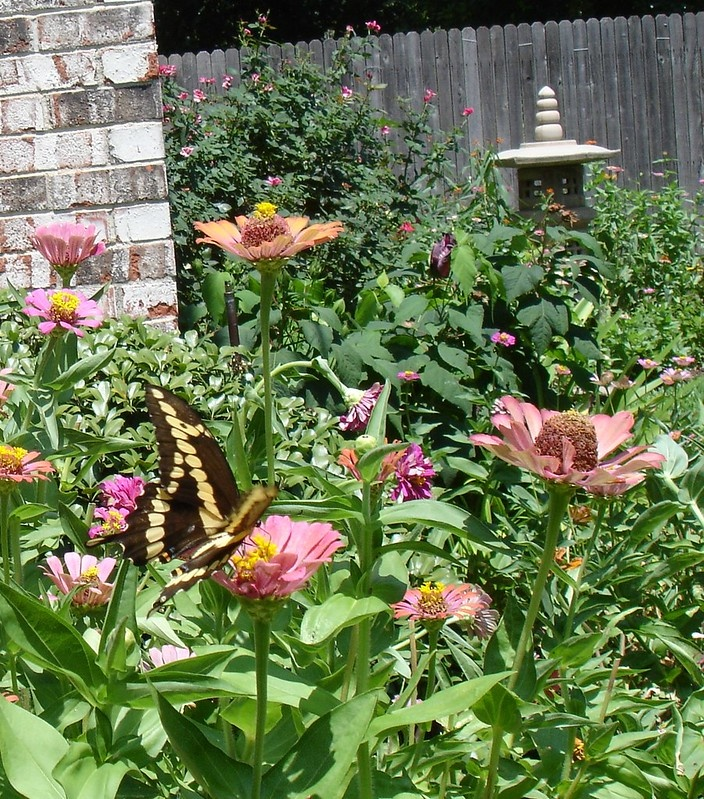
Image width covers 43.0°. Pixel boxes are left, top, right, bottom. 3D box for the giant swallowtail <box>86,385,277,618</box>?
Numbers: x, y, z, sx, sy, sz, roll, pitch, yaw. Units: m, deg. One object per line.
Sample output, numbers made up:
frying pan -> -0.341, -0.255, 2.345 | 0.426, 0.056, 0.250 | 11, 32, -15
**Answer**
giant swallowtail -> -0.185, 0.100, 0.901 | 0.164, 0.210, 0.258 | -8, 9, -17
